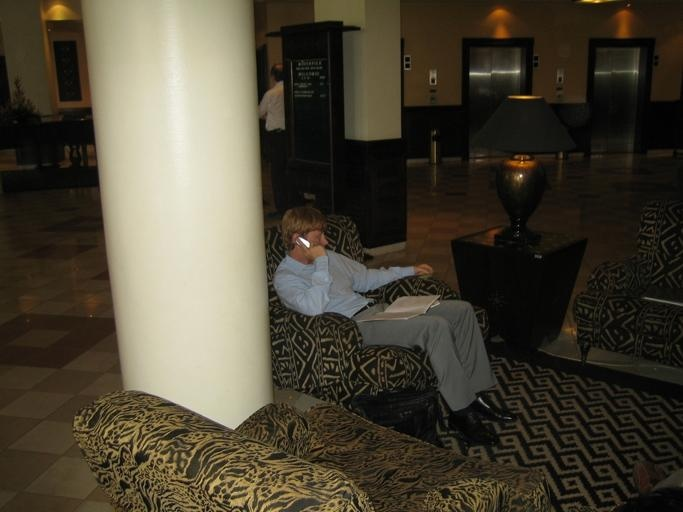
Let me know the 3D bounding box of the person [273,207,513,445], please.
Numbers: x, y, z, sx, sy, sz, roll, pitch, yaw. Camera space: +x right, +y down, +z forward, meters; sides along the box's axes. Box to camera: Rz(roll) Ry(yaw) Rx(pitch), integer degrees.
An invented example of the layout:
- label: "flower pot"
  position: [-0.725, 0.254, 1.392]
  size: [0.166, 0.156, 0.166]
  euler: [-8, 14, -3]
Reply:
- label: "person"
  position: [0.327, 0.437, 3.523]
  size: [1.325, 1.767, 1.088]
  euler: [-11, 8, 28]

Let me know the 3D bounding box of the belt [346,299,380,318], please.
- label: "belt"
  position: [0.172, 0.394, 3.595]
  size: [0.150, 0.054, 0.111]
  euler: [-32, 8, 4]

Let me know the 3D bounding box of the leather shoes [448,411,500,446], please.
- label: "leather shoes"
  position: [0.822, 1.065, 3.191]
  size: [0.315, 0.142, 0.160]
  euler: [16, 35, 38]

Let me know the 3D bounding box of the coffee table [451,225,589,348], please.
- label: "coffee table"
  position: [1.605, 0.309, 4.490]
  size: [0.912, 0.998, 0.824]
  euler: [-14, 20, -35]

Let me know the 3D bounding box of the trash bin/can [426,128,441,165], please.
- label: "trash bin/can"
  position: [2.681, -3.140, 14.593]
  size: [0.260, 0.974, 0.409]
  euler: [-5, 18, -13]

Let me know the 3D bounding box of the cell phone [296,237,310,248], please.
- label: "cell phone"
  position: [-0.261, -0.082, 3.400]
  size: [0.087, 0.049, 0.020]
  euler: [33, 22, 25]

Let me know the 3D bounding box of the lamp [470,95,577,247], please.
- label: "lamp"
  position: [1.519, -0.758, 4.359]
  size: [0.793, 1.236, 0.814]
  euler: [-10, 20, -30]
